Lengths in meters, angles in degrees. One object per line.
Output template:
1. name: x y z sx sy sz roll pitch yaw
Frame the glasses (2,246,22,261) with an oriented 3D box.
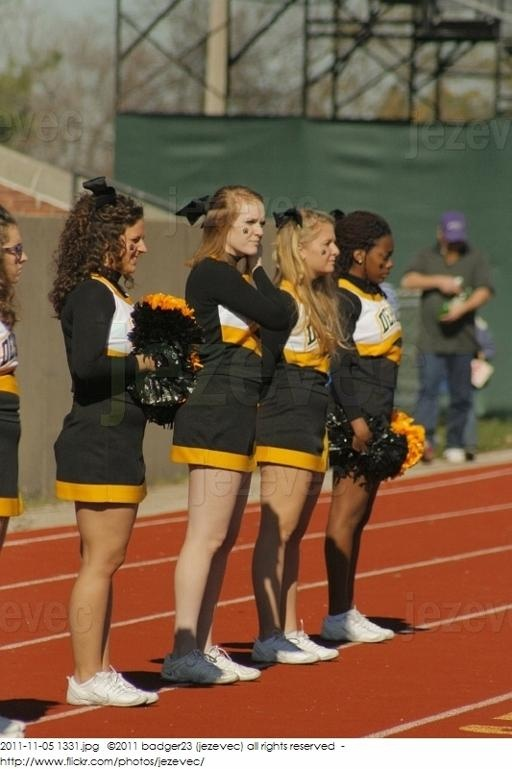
1. glasses: -0.800 -0.435 2.800 0.050 0.017 0.048 -8 -4 19

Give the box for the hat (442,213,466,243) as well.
1. hat: 1.032 -0.827 4.478 0.123 0.161 0.050 -11 26 -12

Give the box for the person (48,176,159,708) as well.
1. person: -0.507 0.193 2.916 0.364 1.773 0.365 2 1 -21

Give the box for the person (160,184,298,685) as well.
1. person: -0.102 0.182 3.284 0.430 1.894 0.468 2 1 2
